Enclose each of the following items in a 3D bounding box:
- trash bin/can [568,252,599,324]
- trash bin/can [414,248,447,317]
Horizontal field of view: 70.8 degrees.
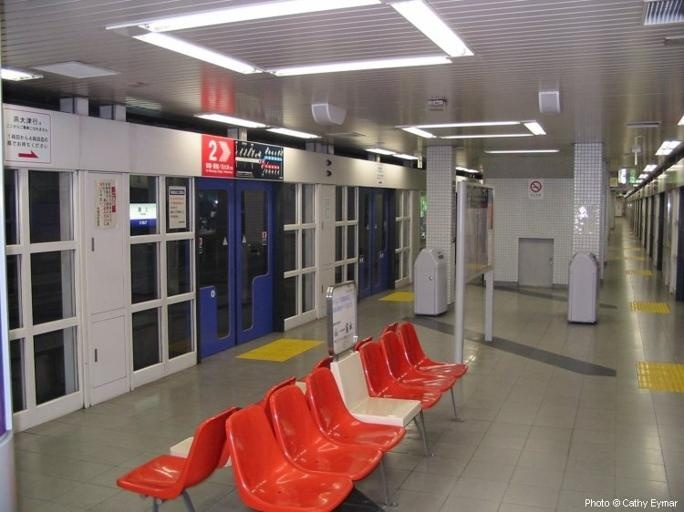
[{"bbox_3d":[4.912,0.653,9.810,0.531,1.438,0.338,2,7,24],"label":"trash bin/can"},{"bbox_3d":[2.022,0.551,10.611,0.879,1.473,0.415,-4,7,-33],"label":"trash bin/can"}]
